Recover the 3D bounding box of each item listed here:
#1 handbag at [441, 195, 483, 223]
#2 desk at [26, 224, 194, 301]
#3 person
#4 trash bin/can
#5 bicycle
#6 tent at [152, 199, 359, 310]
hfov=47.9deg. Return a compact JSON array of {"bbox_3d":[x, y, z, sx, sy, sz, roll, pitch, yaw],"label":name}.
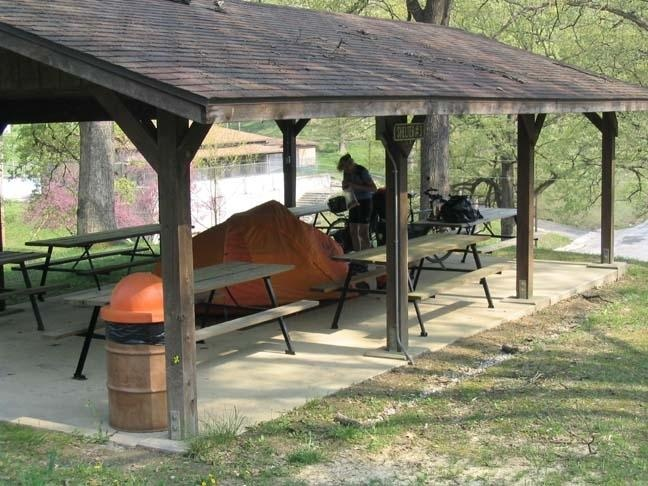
[{"bbox_3d":[2.190,-0.559,11.627,0.655,0.424,0.522,0,11,3],"label":"handbag"},{"bbox_3d":[-3.774,0.820,12.097,1.554,0.826,3.532,4,8,22],"label":"desk"},{"bbox_3d":[0.461,-0.599,12.502,0.793,1.798,0.729,-1,1,-45],"label":"person"},{"bbox_3d":[-1.706,0.986,6.590,0.546,1.378,0.484,-3,13,-12],"label":"trash bin/can"},{"bbox_3d":[1.221,-0.381,13.235,2.151,0.997,0.951,-2,-1,-16],"label":"bicycle"},{"bbox_3d":[-0.887,0.041,10.838,2.070,1.464,2.285,-4,5,-43],"label":"tent"}]
